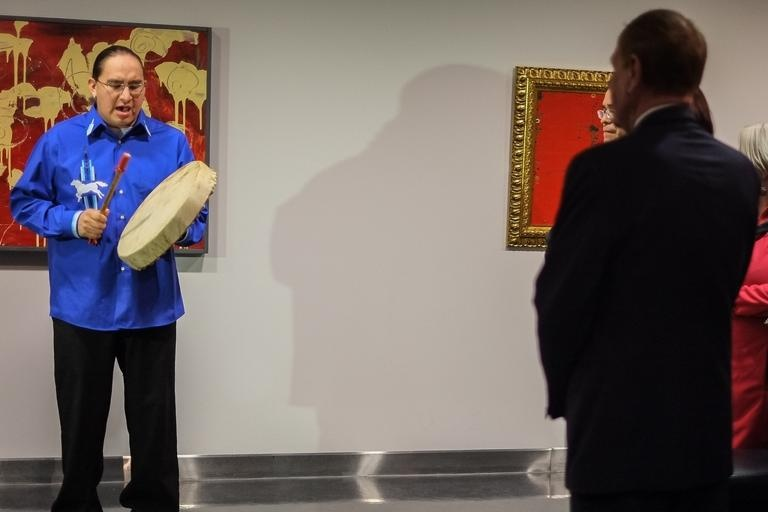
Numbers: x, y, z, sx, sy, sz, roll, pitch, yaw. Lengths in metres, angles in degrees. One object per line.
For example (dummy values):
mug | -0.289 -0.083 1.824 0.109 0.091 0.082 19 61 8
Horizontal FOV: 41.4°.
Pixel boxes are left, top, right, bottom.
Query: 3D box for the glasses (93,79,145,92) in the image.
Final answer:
glasses | -1.189 -0.768 4.557 0.208 0.056 0.063 2 9 -17
